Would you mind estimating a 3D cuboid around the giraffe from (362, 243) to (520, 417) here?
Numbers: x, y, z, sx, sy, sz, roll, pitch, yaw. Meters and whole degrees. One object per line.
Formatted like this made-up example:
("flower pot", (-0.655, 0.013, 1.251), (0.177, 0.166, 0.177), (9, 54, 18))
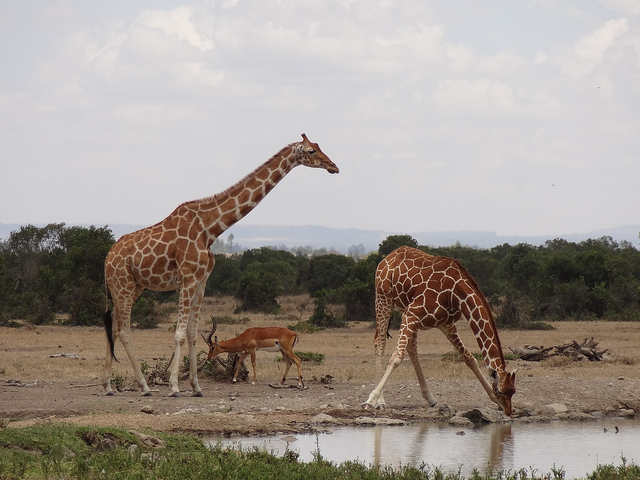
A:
("giraffe", (3.095, 2.697, 25.957), (3.090, 4.581, 6.376), (0, 4, -31))
